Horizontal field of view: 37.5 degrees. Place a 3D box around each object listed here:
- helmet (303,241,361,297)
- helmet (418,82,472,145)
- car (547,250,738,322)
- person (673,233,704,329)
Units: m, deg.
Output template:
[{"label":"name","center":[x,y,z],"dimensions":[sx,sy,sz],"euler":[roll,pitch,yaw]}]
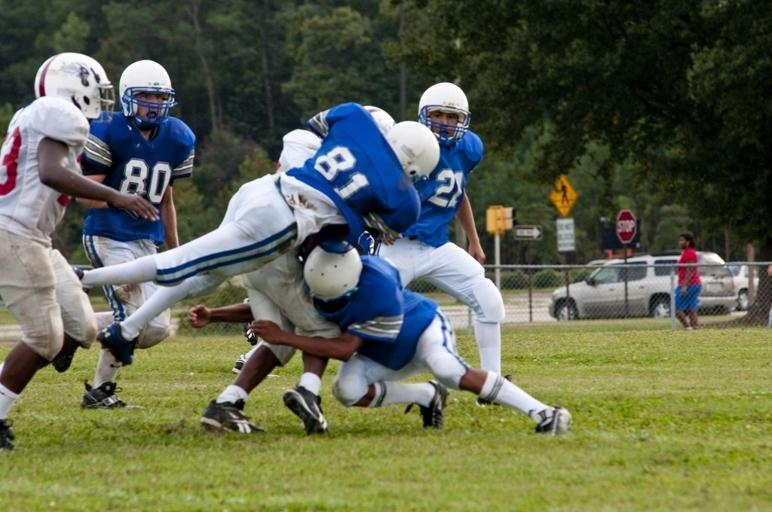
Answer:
[{"label":"helmet","center":[-0.485,0.154,10.816],"dimensions":[0.533,0.417,0.404],"euler":[-3,5,-11]},{"label":"helmet","center":[0.643,-1.587,12.362],"dimensions":[0.516,0.564,0.675],"euler":[4,13,-11]},{"label":"car","center":[4.343,0.519,19.378],"dimensions":[2.816,0.979,1.299],"euler":[-1,-2,26]},{"label":"person","center":[4.874,0.403,18.307],"dimensions":[0.395,1.422,1.425],"euler":[2,6,15]}]
